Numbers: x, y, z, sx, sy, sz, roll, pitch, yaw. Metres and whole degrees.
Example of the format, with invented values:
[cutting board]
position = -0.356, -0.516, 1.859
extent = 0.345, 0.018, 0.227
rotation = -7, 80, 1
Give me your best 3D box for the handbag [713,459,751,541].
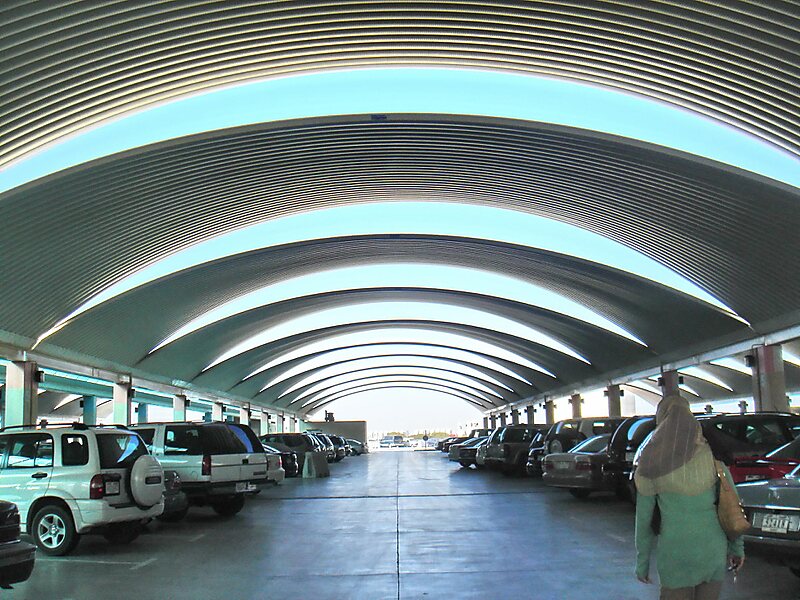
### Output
[handbag]
position = 2.780, 1.700, 5.234
extent = 0.209, 0.654, 0.283
rotation = -9, -18, 27
